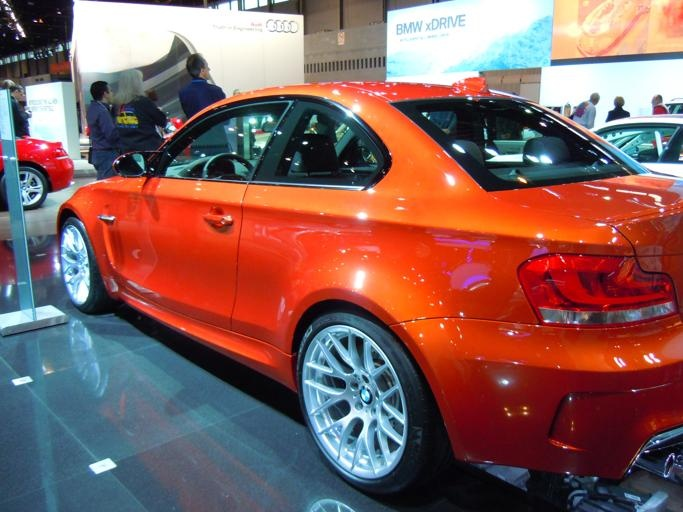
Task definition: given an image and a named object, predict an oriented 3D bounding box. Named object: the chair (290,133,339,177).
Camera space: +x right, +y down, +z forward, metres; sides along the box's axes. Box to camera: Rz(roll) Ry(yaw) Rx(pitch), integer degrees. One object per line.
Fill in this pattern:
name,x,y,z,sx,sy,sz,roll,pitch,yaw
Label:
chair,-0.145,-0.465,2.272,0.231,0.196,0.205,4,3,-14
